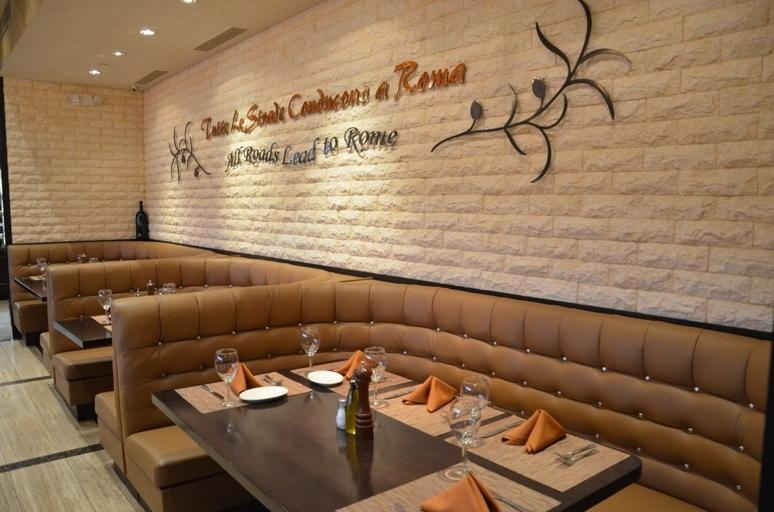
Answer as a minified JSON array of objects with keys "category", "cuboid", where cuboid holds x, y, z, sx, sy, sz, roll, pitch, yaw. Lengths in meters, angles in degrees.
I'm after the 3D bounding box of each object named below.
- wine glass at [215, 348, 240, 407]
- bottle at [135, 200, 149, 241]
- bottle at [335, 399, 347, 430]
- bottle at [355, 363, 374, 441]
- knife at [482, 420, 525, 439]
[{"category":"wine glass","cuboid":[-0.898,0.653,2.817,0.107,0.313,0.283,-3,14,-16]},{"category":"bottle","cuboid":[-4.144,-0.597,8.376,0.242,0.640,0.209,-6,17,-25]},{"category":"bottle","cuboid":[-0.235,0.805,2.528,0.047,0.141,0.078,-1,15,-6]},{"category":"bottle","cuboid":[-0.116,0.722,2.496,0.097,0.317,0.224,0,14,-3]},{"category":"knife","cuboid":[0.588,0.885,2.535,0.280,0.013,0.056,-6,14,-29]}]
